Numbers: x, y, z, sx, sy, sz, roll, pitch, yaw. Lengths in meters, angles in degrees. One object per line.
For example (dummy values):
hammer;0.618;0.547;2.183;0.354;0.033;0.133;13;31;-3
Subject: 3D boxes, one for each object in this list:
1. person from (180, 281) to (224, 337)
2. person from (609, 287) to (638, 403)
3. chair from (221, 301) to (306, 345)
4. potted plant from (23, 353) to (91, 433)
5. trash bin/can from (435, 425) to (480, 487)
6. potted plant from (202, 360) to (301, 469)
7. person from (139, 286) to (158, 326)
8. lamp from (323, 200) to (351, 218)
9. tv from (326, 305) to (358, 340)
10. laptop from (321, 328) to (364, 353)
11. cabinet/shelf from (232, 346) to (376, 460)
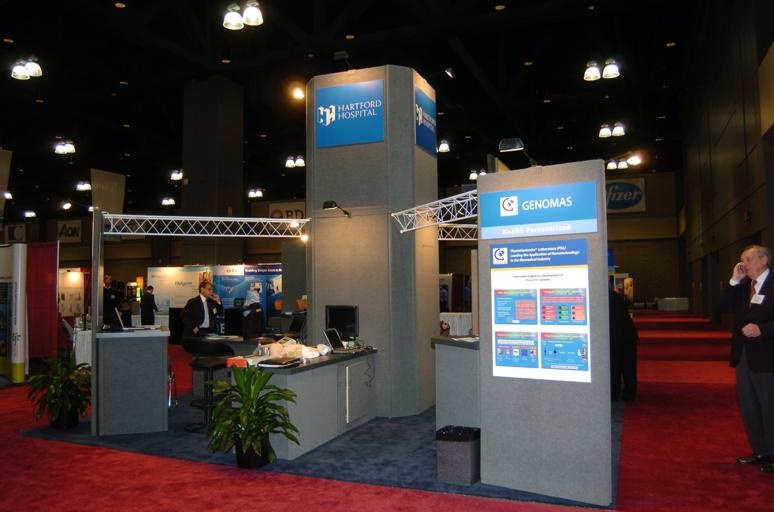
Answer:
person;-3.427;0.925;11.528;0.625;1.043;1.420;1;8;12
person;3.974;1.546;10.280;0.451;1.816;0.564;2;8;20
chair;-2.620;1.421;12.836;1.080;0.754;0.563;0;1;18
potted plant;-5.008;2.148;9.553;0.849;1.164;1.118;3;6;0
trash bin/can;0.928;2.564;7.772;0.543;0.627;0.556;-8;-11;41
potted plant;-1.756;2.117;8.217;1.162;1.282;0.743;1;7;9
person;-6.571;1.415;16.857;0.454;1.058;0.480;-4;8;-22
lamp;-0.891;-0.796;10.161;0.384;0.296;0.484;7;10;43
tv;-0.707;1.078;10.052;0.624;0.641;0.220;-6;1;20
laptop;-0.712;1.352;9.621;0.404;0.282;0.463;-3;-4;20
cabinet/shelf;-0.981;2.119;9.321;0.788;1.241;2.254;-1;0;32
